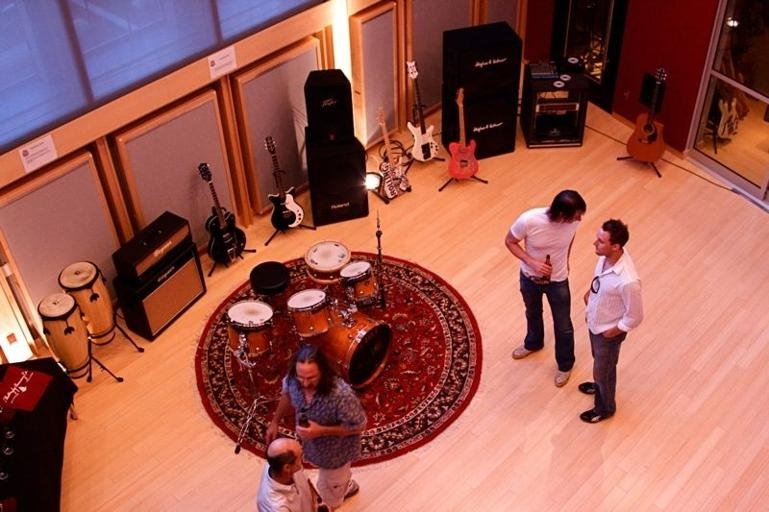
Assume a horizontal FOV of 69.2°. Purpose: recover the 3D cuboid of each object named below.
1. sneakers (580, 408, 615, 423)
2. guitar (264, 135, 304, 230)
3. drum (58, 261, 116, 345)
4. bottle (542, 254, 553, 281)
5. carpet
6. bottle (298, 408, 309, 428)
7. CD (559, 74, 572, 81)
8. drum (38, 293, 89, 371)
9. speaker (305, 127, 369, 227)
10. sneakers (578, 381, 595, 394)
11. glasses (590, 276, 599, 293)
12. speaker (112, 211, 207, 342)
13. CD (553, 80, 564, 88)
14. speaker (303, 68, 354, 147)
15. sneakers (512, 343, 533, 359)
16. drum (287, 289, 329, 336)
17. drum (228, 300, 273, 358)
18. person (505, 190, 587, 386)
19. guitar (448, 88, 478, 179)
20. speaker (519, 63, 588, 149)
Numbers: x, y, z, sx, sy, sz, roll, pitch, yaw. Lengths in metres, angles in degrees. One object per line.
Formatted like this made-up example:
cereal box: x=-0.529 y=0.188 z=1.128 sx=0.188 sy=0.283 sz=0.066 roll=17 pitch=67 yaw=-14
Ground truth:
sneakers: x=1.946 y=1.437 z=5.097 sx=0.299 sy=0.091 sz=0.138 roll=-3 pitch=72 yaw=6
guitar: x=-1.196 y=-0.874 z=6.550 sx=0.392 sy=1.045 sz=0.606 roll=-8 pitch=37 yaw=-9
drum: x=-2.902 y=0.466 z=5.395 sx=0.403 sy=0.681 sz=0.429 roll=1 pitch=48 yaw=-1
bottle: x=1.389 y=0.114 z=4.757 sx=0.075 sy=0.267 sz=0.064 roll=12 pitch=39 yaw=18
carpet: x=-0.430 y=0.763 z=5.752 sx=2.828 sy=3.115 sz=0.693 roll=5 pitch=34 yaw=-9
bottle: x=-0.526 y=1.070 z=3.732 sx=0.067 sy=0.107 sz=0.112 roll=0 pitch=51 yaw=-3
CD: x=2.332 y=-2.320 z=7.231 sx=0.086 sy=0.030 sz=0.109 roll=-33 pitch=45 yaw=-24
drum: x=-3.031 y=0.763 z=5.370 sx=0.344 sy=0.738 sz=0.352 roll=-1 pitch=37 yaw=1
speaker: x=-0.561 y=-0.915 z=6.517 sx=0.678 sy=1.014 sz=0.716 roll=-12 pitch=51 yaw=-8
sneakers: x=1.897 y=1.239 z=5.229 sx=0.172 sy=0.073 sz=0.071 roll=1 pitch=82 yaw=8
glasses: x=1.700 y=0.236 z=4.526 sx=0.026 sy=0.110 sz=0.064 roll=4 pitch=39 yaw=9
speaker: x=-2.336 y=0.230 z=5.695 sx=0.363 sy=0.982 sz=0.841 roll=28 pitch=58 yaw=23
CD: x=2.239 y=-2.211 z=7.166 sx=0.138 sy=0.052 sz=0.136 roll=6 pitch=39 yaw=9
speaker: x=-0.654 y=-1.689 z=6.393 sx=0.548 sy=0.708 sz=0.395 roll=-7 pitch=37 yaw=-7
sneakers: x=1.352 y=0.942 z=5.532 sx=0.197 sy=0.081 sz=0.104 roll=-18 pitch=70 yaw=-8
drum: x=-0.710 y=0.518 z=5.265 sx=0.383 sy=0.300 sz=0.456 roll=-6 pitch=38 yaw=-7
drum: x=-1.258 y=0.636 z=5.395 sx=0.436 sy=0.480 sz=0.496 roll=-11 pitch=48 yaw=-15
person: x=1.442 y=0.264 z=4.982 sx=0.793 sy=1.871 sz=0.418 roll=17 pitch=40 yaw=23
guitar: x=1.020 y=-1.498 z=7.000 sx=0.381 sy=0.991 sz=0.613 roll=5 pitch=37 yaw=9
speaker: x=2.310 y=-2.038 z=7.524 sx=0.826 sy=0.905 sz=0.658 roll=1 pitch=37 yaw=2
